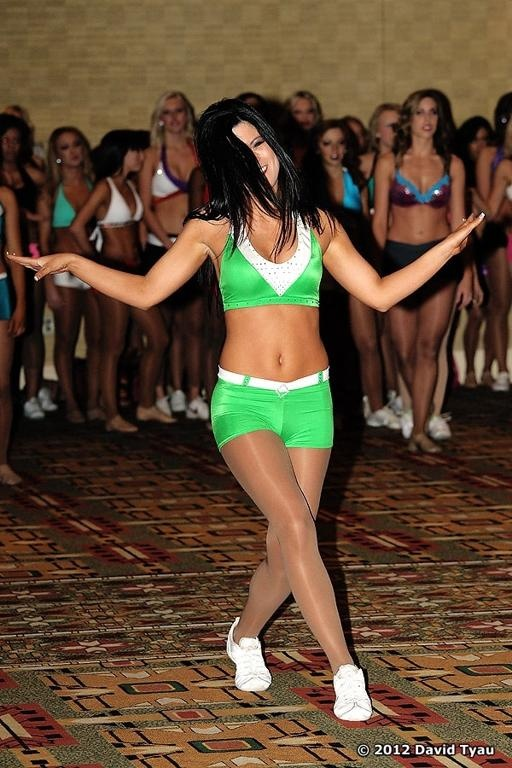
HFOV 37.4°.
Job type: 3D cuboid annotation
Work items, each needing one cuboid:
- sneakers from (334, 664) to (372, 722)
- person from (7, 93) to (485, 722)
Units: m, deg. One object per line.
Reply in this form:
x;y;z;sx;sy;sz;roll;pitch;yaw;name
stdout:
0.197;0.628;1.527;0.074;0.053;0.129;0;29;2;sneakers
0.063;0.077;1.774;0.665;1.421;0.822;5;31;38;person
